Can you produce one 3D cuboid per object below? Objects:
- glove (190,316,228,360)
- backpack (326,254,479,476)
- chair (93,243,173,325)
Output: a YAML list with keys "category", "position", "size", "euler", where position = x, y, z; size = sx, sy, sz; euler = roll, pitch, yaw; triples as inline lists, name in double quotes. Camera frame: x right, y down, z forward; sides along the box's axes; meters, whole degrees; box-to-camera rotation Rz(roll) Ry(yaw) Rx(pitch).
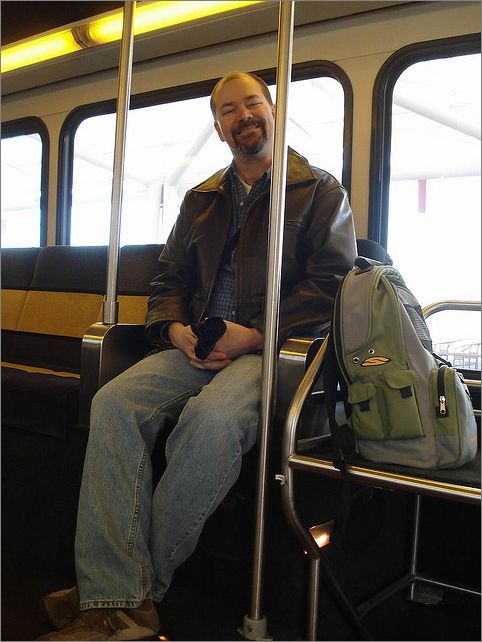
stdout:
- category: "glove"
  position: [-0.081, 0.042, 1.381]
  size: [0.036, 0.095, 0.107]
  euler: [12, -39, -42]
- category: "backpack"
  position: [0.356, 0.116, 1.210]
  size: [0.357, 0.508, 0.377]
  euler: [-4, -8, 18]
- category: "chair"
  position: [-0.501, -0.166, 2.615]
  size: [0.372, 0.494, 0.376]
  euler: [2, -3, -18]
